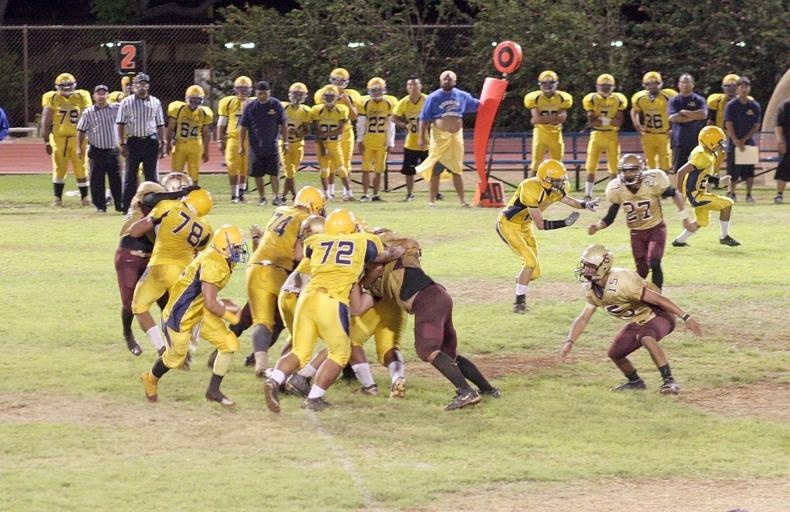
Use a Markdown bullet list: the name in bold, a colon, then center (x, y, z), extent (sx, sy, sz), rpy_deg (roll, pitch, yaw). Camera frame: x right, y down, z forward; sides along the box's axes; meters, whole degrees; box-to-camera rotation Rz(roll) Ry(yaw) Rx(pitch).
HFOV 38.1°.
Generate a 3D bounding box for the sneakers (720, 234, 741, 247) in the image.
- **sneakers**: center (5.083, -0.234, 17.884), extent (0.397, 0.142, 0.116), rpy_deg (6, 44, 16)

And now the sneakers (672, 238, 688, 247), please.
- **sneakers**: center (4.411, -0.218, 18.039), extent (0.213, 0.122, 0.395), rpy_deg (2, 6, 18)

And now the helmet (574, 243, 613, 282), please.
- **helmet**: center (2.155, 0.069, 12.695), extent (0.568, 0.328, 0.350), rpy_deg (-9, 18, -7)

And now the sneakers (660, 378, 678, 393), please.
- **sneakers**: center (2.984, 1.420, 12.569), extent (0.177, 0.084, 0.195), rpy_deg (22, -15, -5)

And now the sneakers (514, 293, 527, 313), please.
- **sneakers**: center (1.600, 0.614, 14.935), extent (0.162, 0.229, 0.245), rpy_deg (1, 6, 6)

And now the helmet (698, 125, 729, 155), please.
- **helmet**: center (4.753, -1.767, 17.465), extent (0.363, 0.412, 0.353), rpy_deg (2, 7, 11)

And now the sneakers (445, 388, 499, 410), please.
- **sneakers**: center (0.824, 1.536, 12.421), extent (0.302, 0.215, 0.595), rpy_deg (5, 7, 39)

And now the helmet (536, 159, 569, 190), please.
- **helmet**: center (1.922, -1.084, 14.824), extent (0.519, 0.298, 0.346), rpy_deg (14, 30, 28)

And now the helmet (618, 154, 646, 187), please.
- **helmet**: center (3.000, -1.114, 14.870), extent (0.298, 0.388, 0.298), rpy_deg (2, 7, 9)
